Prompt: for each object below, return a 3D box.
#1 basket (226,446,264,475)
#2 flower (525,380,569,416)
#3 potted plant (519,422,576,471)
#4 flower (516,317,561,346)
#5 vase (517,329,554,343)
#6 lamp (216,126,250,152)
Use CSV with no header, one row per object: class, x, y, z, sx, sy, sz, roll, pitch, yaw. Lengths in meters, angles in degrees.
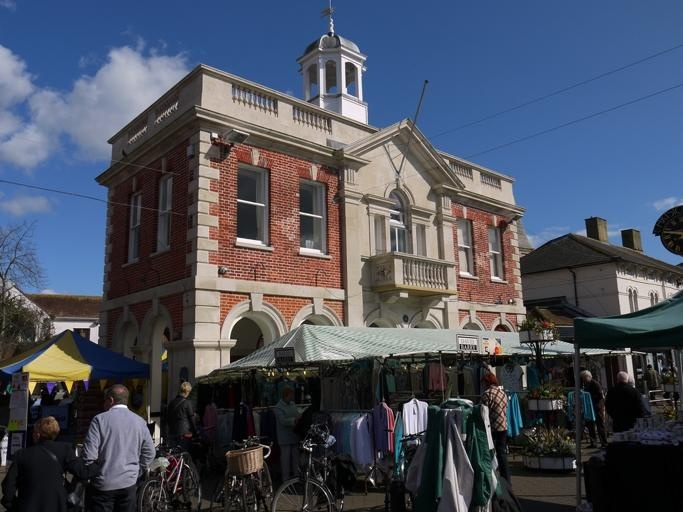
basket,-1.561,3.389,10.620,0.456,0.319,0.546,-13,-14,24
flower,4.908,3.419,15.481,0.705,0.710,0.730,-9,-20,44
potted plant,4.630,4.192,14.242,0.967,0.972,0.969,7,-12,-36
flower,5.149,2.062,16.818,0.781,0.593,0.719,-8,-19,31
vase,5.073,2.086,16.736,0.857,0.315,0.465,-6,-18,15
lamp,-2.985,-3.216,17.818,0.877,0.586,0.542,6,-19,-22
